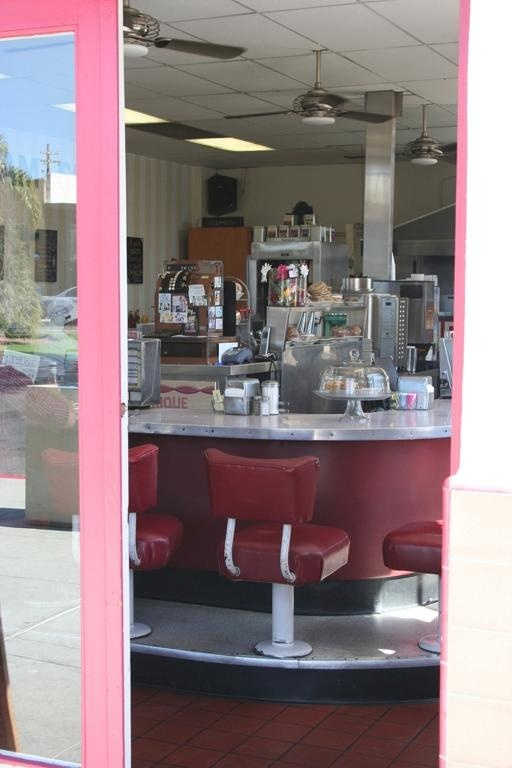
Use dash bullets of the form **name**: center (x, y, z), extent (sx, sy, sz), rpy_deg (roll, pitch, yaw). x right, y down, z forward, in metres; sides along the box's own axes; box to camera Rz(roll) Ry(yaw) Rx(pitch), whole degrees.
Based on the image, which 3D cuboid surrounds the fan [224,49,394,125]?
- **fan**: center (0.480, -2.692, 6.406), extent (1.006, 0.545, 1.110), rpy_deg (14, 17, 42)

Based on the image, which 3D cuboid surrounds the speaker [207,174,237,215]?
- **speaker**: center (-0.566, -3.138, 12.243), extent (0.606, 0.857, 0.437), rpy_deg (0, 11, -2)

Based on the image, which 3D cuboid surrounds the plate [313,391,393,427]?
- **plate**: center (0.451, 0.095, 3.553), extent (0.343, 0.133, 0.304), rpy_deg (4, 8, 7)

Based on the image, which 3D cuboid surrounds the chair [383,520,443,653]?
- **chair**: center (0.610, 0.816, 2.935), extent (0.243, 0.535, 0.500), rpy_deg (5, 8, 13)

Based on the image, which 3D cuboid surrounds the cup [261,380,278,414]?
- **cup**: center (0.068, 0.064, 3.722), extent (0.090, 0.165, 0.136), rpy_deg (3, 8, 1)

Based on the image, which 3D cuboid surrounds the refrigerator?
- **refrigerator**: center (0.373, -1.147, 9.495), extent (0.838, 1.305, 1.062), rpy_deg (0, 15, -2)

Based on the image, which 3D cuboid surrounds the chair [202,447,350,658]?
- **chair**: center (0.087, 0.647, 2.892), extent (0.473, 0.786, 0.512), rpy_deg (0, 2, 22)
